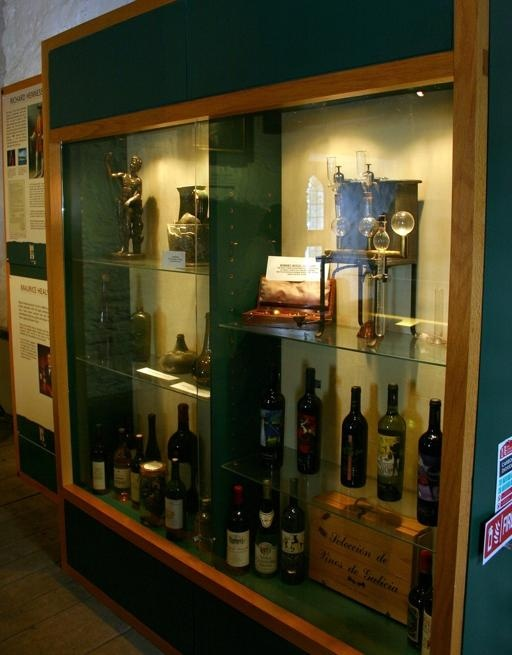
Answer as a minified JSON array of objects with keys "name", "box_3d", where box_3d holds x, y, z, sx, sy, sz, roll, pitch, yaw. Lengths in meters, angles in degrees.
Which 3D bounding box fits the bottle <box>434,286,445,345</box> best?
[{"name":"bottle","box_3d":[0.363,-0.021,1.123,0.018,0.109,0.082,2,6,14]}]
